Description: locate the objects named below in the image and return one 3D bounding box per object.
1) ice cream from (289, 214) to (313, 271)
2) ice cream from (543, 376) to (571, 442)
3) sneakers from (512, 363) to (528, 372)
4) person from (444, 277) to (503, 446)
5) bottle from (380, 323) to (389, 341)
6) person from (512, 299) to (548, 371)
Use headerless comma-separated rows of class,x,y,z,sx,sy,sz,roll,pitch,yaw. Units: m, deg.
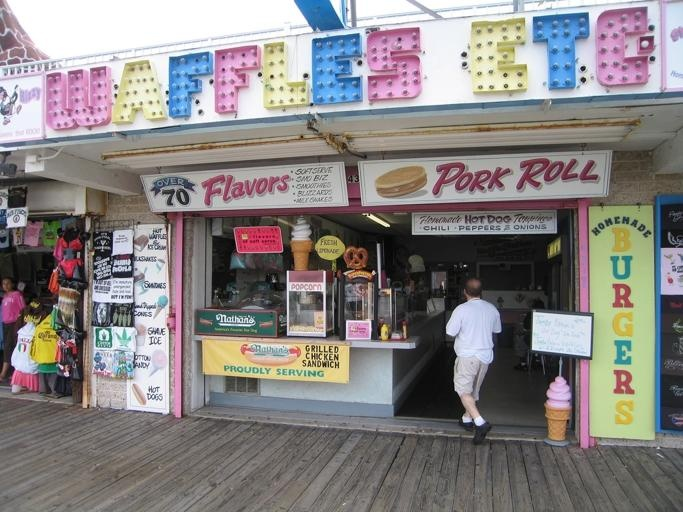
ice cream,-0.608,-0.175,8.422,0.277,0.778,0.556,-1,7,-5
ice cream,2.764,1.981,7.263,0.278,0.807,0.251,-7,10,-43
sneakers,3.484,2.146,11.048,0.247,0.105,0.444,2,8,17
person,1.740,1.339,7.496,0.673,1.962,0.888,1,7,14
bottle,0.601,1.068,7.930,0.112,0.217,0.052,-2,-2,3
person,3.961,1.632,11.447,0.718,1.346,0.760,2,0,27
